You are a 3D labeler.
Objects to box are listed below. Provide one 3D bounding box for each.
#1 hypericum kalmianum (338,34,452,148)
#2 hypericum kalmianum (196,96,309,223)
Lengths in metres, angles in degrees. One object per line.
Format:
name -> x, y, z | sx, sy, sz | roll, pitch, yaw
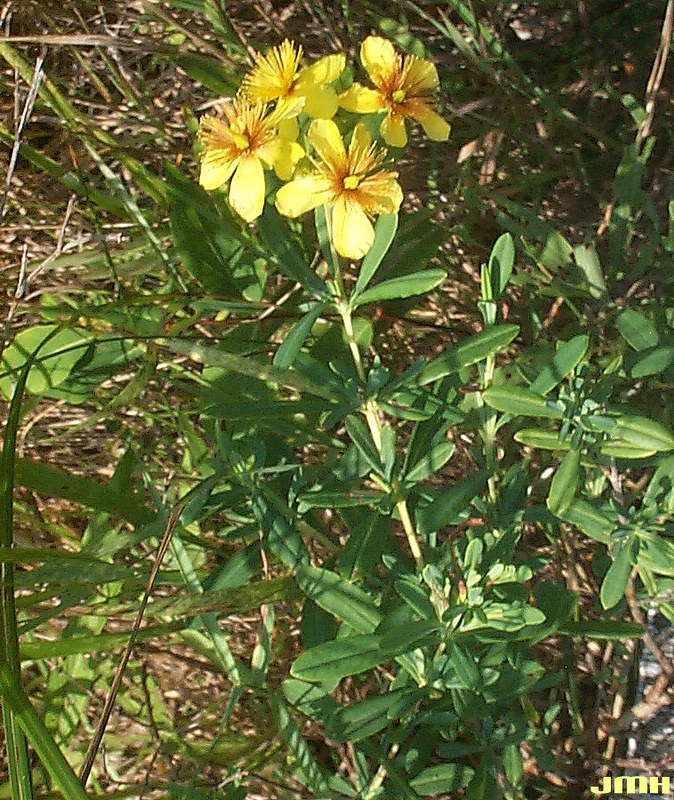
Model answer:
hypericum kalmianum -> 0.063, -0.338, 0.811 | 0.100, 0.106, 0.041 | -163, 92, -73
hypericum kalmianum -> -0.079, -0.256, 0.757 | 0.099, 0.082, 0.034 | 24, 86, 1
